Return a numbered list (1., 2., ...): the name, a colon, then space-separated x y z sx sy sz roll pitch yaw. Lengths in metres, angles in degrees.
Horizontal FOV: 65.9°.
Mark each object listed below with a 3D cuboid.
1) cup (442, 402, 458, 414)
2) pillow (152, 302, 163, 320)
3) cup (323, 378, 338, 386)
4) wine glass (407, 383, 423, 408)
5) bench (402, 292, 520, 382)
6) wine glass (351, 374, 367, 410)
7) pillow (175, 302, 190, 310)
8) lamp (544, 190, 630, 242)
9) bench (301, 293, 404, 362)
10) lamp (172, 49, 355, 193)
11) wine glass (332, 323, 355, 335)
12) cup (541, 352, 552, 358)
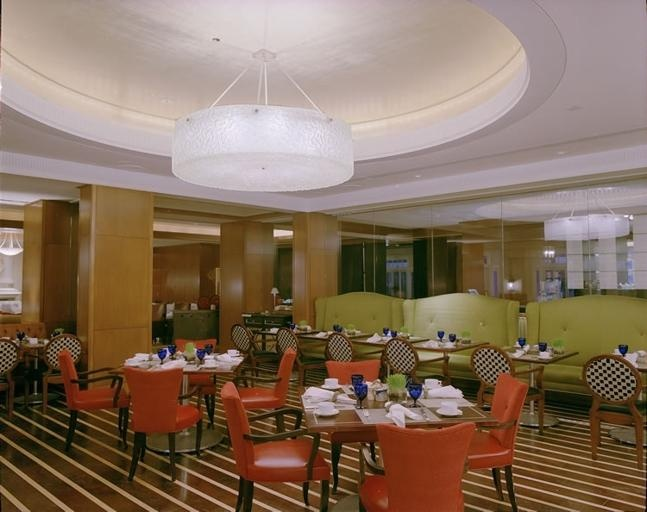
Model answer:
1. cup: 1.044 1.247 4.096 0.097 0.057 0.087 0 -2 0
2. pillow: -4.851 1.643 14.710 0.339 0.435 0.701 0 -4 -18
3. cup: 0.079 1.253 4.964 0.110 0.064 0.105 -5 1 0
4. wine glass: 0.806 1.232 4.408 0.169 0.190 0.164 4 -7 -43
5. bench: 2.165 1.451 8.625 1.158 1.548 2.223 -4 0 -44
6. wine glass: 0.320 1.194 4.441 0.117 0.247 0.380 -2 -4 2
7. pillow: -4.424 1.546 15.574 0.499 0.220 0.672 1 -1 -28
8. lamp: 3.965 -0.733 7.866 1.252 0.774 0.667 -4 13 34
9. bench: 0.723 1.460 10.024 1.826 1.177 0.942 4 6 -15
10. lamp: -0.688 -0.989 4.723 1.608 1.000 1.588 11 -18 -38
11. wine glass: 0.384 1.367 9.209 0.337 0.097 0.244 3 -3 7
12. cup: 2.927 1.311 6.593 0.087 0.064 0.089 1 6 0
